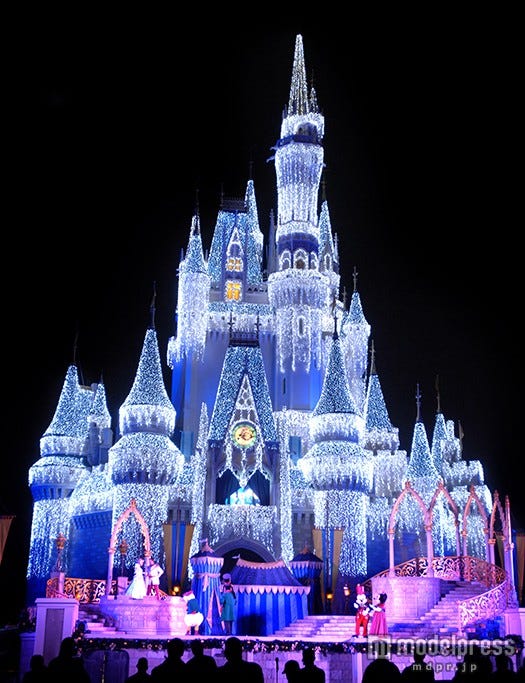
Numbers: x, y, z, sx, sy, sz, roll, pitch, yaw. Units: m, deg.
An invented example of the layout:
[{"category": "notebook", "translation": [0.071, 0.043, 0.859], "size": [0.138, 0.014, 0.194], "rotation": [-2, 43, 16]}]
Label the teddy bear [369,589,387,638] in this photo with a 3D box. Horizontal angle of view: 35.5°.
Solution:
[{"category": "teddy bear", "translation": [2.219, 5.309, 15.791], "size": [0.302, 0.945, 1.375], "rotation": [-1, -23, 7]}]

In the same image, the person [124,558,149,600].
[{"category": "person", "translation": [-2.890, 5.444, 18.963], "size": [0.576, 1.487, 0.528], "rotation": [1, -1, -17]}]
